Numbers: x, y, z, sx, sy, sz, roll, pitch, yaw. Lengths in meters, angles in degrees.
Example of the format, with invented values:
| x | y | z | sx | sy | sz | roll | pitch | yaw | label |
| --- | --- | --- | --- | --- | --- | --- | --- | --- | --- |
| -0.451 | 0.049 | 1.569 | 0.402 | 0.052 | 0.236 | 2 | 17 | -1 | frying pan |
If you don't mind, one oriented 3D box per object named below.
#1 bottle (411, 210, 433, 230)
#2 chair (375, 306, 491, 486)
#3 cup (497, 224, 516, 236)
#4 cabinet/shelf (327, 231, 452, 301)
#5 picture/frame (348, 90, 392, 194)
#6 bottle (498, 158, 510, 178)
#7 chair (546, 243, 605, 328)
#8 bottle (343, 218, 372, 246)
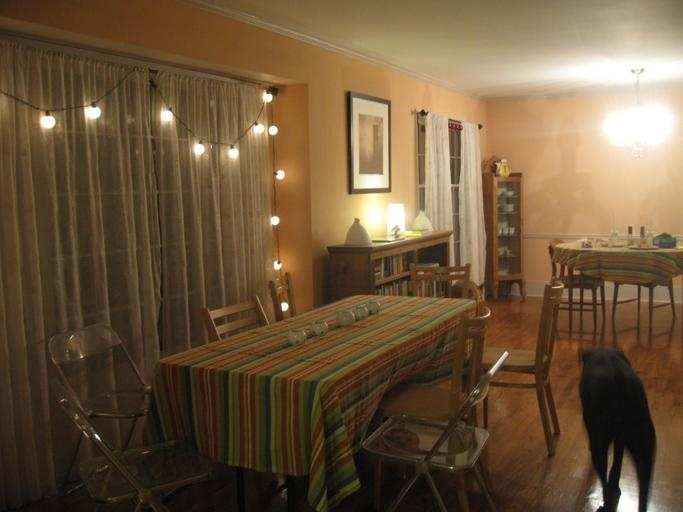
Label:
| x | y | z | sx | sy | sz | roll | pitch | yaw | label |
| --- | --- | --- | --- | --- | --- | --- | --- | --- | --- |
| 0.975 | -0.443 | 6.524 | 0.230 | 0.278 | 0.237 | 4 | 8 | 32 | bottle |
| 0.588 | 0.711 | 3.458 | 0.744 | 1.284 | 0.739 | 4 | 9 | 23 | chair |
| 2.557 | -0.402 | 8.297 | 0.243 | 0.108 | 0.142 | 3 | -3 | -37 | cup |
| 0.576 | 0.195 | 5.836 | 0.442 | 0.883 | 1.831 | 4 | 10 | 32 | cabinet/shelf |
| 0.283 | -1.257 | 5.806 | 0.082 | 1.392 | 1.145 | 0 | 3 | 27 | picture/frame |
| 2.520 | -1.358 | 8.285 | 0.194 | 0.257 | 0.172 | -2 | 5 | 6 | bottle |
| 2.893 | 0.345 | 6.630 | 0.681 | 1.009 | 0.705 | 0 | 1 | 7 | chair |
| 0.173 | -0.227 | 5.254 | 0.238 | 0.282 | 0.248 | -1 | -1 | 16 | bottle |
